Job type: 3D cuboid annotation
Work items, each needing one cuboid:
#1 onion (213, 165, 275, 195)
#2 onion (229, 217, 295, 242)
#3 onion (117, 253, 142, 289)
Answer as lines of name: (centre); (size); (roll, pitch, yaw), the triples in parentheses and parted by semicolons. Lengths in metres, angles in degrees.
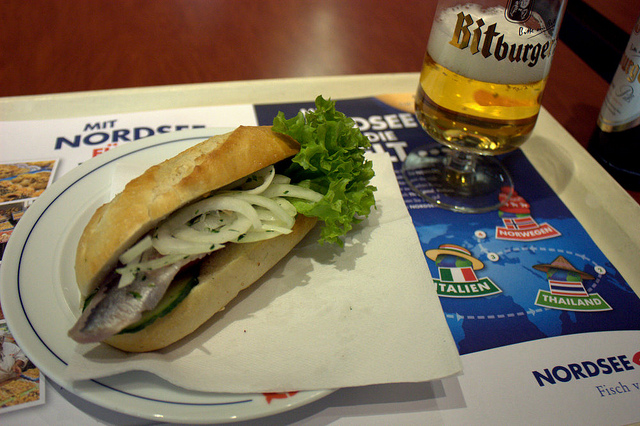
onion: (-0.356, -0.154, 2.047); (0.219, 0.304, 0.065); (3, 74, -20)
onion: (-0.213, 0.075, 1.936); (0.152, 0.030, 0.110); (-18, 40, -34)
onion: (-0.677, 0.204, 1.784); (0.056, 0.038, 0.139); (9, 53, 9)
